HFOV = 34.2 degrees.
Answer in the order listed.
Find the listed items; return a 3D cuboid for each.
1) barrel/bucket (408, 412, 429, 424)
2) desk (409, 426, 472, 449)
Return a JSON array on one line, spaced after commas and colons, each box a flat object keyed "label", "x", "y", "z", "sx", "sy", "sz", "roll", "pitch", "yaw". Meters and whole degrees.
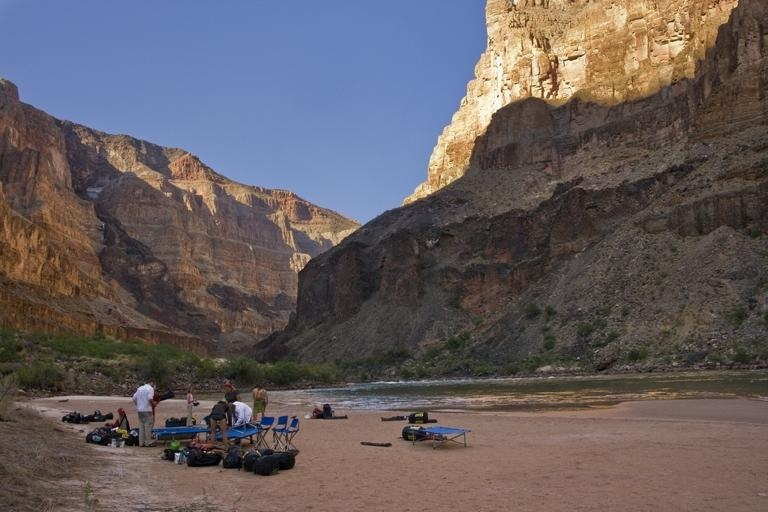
[{"label": "barrel/bucket", "x": 3.854, "y": 18.043, "z": 140.255, "sx": 1.826, "sy": 0.818, "sz": 1.275, "roll": 0, "pitch": -5, "yaw": 0}, {"label": "desk", "x": 6.014, "y": 19.568, "z": 137.145, "sx": 6.381, "sy": 2.374, "sz": 2.683, "roll": 2, "pitch": -14, "yaw": 3}]
